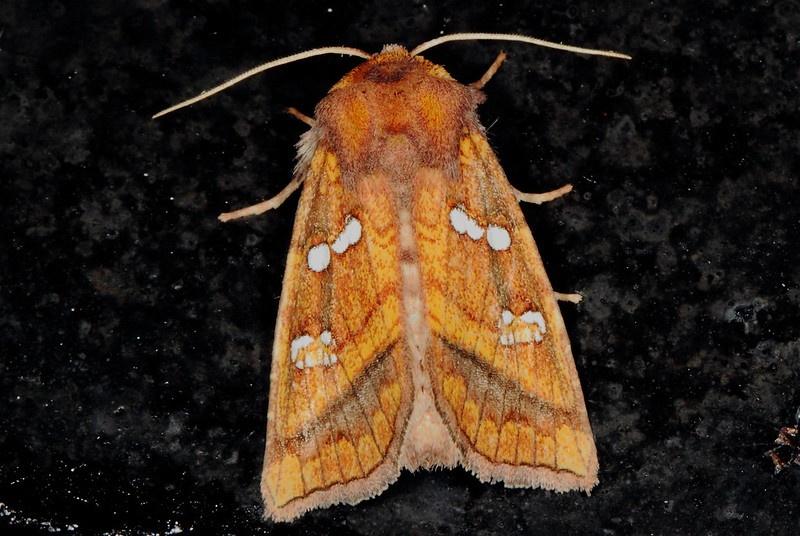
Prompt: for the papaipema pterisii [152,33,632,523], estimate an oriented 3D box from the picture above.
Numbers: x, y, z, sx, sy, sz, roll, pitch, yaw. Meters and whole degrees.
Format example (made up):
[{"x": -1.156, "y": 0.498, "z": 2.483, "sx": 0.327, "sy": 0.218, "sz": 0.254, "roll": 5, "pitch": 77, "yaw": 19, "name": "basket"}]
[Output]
[{"x": 0.083, "y": -0.247, "z": 6.362, "sx": 1.987, "sy": 4.026, "sz": 2.906, "roll": 0, "pitch": 44, "yaw": 1, "name": "papaipema pterisii"}]
